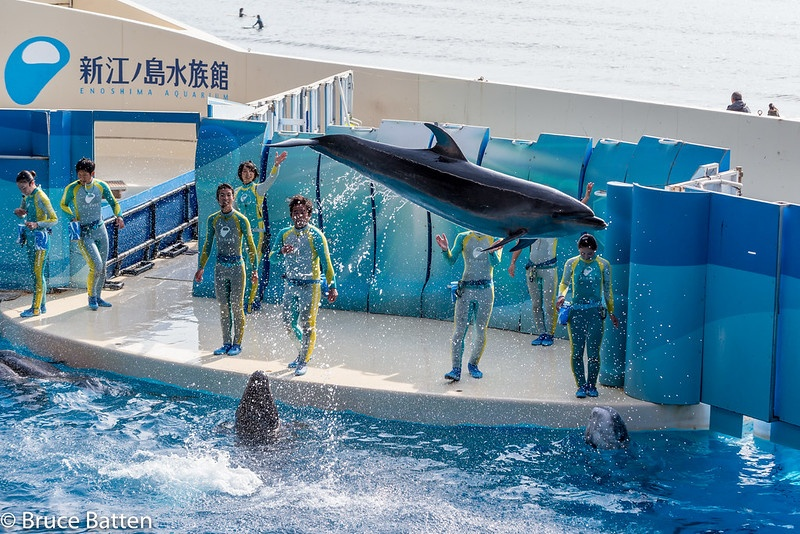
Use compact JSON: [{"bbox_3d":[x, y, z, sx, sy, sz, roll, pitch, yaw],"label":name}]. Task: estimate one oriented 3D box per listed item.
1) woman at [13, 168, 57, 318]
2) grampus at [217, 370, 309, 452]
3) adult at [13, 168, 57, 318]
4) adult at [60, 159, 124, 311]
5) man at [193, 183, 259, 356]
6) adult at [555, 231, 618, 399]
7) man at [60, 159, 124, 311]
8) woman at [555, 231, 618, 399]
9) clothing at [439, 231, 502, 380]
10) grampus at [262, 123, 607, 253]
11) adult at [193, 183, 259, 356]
[{"bbox_3d":[-4.790,-0.314,13.955,0.487,1.872,0.602,-2,9,-21],"label":"woman"},{"bbox_3d":[-1.503,1.566,11.538,0.994,0.764,0.491,1,9,-7],"label":"grampus"},{"bbox_3d":[-4.783,-0.311,13.936,0.487,1.872,0.560,-2,9,-21],"label":"adult"},{"bbox_3d":[-4.108,-0.422,14.088,0.726,1.975,0.268,-2,9,-19],"label":"adult"},{"bbox_3d":[-2.115,0.030,12.854,0.702,2.051,0.407,1,9,-4],"label":"man"},{"bbox_3d":[2.106,0.553,11.983,0.705,1.802,0.487,3,9,8],"label":"adult"},{"bbox_3d":[-4.108,-0.422,14.088,0.726,1.975,0.268,-2,9,-19],"label":"man"},{"bbox_3d":[2.100,0.552,11.986,0.690,1.802,0.495,3,9,10],"label":"woman"},{"bbox_3d":[0.786,0.436,12.354,0.679,1.731,1.207,2,9,5],"label":"clothing"},{"bbox_3d":[0.379,-0.837,10.285,3.143,1.071,0.870,14,20,20],"label":"grampus"},{"bbox_3d":[-2.119,0.030,12.857,0.708,2.051,0.416,1,9,-3],"label":"adult"}]
